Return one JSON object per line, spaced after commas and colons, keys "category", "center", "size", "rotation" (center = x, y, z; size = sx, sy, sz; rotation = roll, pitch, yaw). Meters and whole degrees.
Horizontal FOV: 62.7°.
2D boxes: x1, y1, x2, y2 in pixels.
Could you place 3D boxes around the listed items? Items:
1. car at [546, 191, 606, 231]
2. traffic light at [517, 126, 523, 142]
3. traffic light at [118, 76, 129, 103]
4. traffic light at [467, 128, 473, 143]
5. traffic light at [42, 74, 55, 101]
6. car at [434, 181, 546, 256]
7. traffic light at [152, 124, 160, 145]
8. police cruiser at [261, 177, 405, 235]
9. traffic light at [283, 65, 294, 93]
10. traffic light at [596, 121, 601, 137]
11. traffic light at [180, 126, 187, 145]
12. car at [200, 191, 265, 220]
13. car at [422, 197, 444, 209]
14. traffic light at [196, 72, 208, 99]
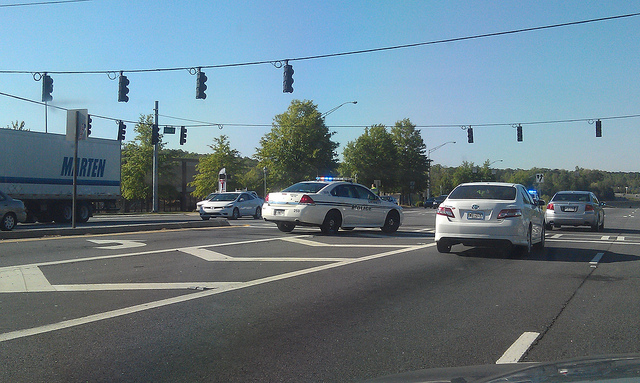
{"category": "car", "center": [11.585, 0.936, 23.799], "size": [3.271, 1.726, 1.818], "rotation": [-3, 6, -35]}
{"category": "traffic light", "center": [16.286, -4.733, 42.989], "size": [0.331, 1.090, 0.969], "rotation": [2, 5, 14]}
{"category": "traffic light", "center": [-9.136, -4.784, 24.459], "size": [0.361, 1.151, 0.290], "rotation": [-1, 5, -20]}
{"category": "traffic light", "center": [12.630, -4.719, 44.185], "size": [0.184, 1.152, 0.326], "rotation": [-4, 7, -42]}
{"category": "traffic light", "center": [-12.187, -4.629, 23.477], "size": [0.395, 1.151, 0.342], "rotation": [0, 5, -8]}
{"category": "car", "center": [4.871, 0.862, 14.955], "size": [2.495, 1.860, 5.512], "rotation": [-1, 1, 22]}
{"category": "traffic light", "center": [-11.627, -4.033, 37.069], "size": [0.355, 1.290, 0.739], "rotation": [-1, 5, -18]}
{"category": "police cruiser", "center": [0.796, 0.613, 21.004], "size": [2.765, 2.150, 6.313], "rotation": [0, -2, 44]}
{"category": "traffic light", "center": [-1.379, -4.966, 23.106], "size": [0.337, 1.220, 0.485], "rotation": [0, 5, -7]}
{"category": "traffic light", "center": [21.512, -4.844, 40.579], "size": [0.256, 1.102, 0.120], "rotation": [0, 5, -11]}
{"category": "traffic light", "center": [-9.638, -3.934, 37.137], "size": [0.267, 1.265, 2.820], "rotation": [-1, 5, -16]}
{"category": "car", "center": [-4.888, 0.828, 30.766], "size": [1.724, 1.197, 3.627], "rotation": [-3, -5, 25]}
{"category": "car", "center": [12.567, 1.328, 58.545], "size": [2.329, 1.036, 1.476], "rotation": [3, 1, 14]}
{"category": "traffic light", "center": [-5.356, -4.794, 23.813], "size": [0.372, 1.166, 0.536], "rotation": [0, 5, -11]}
